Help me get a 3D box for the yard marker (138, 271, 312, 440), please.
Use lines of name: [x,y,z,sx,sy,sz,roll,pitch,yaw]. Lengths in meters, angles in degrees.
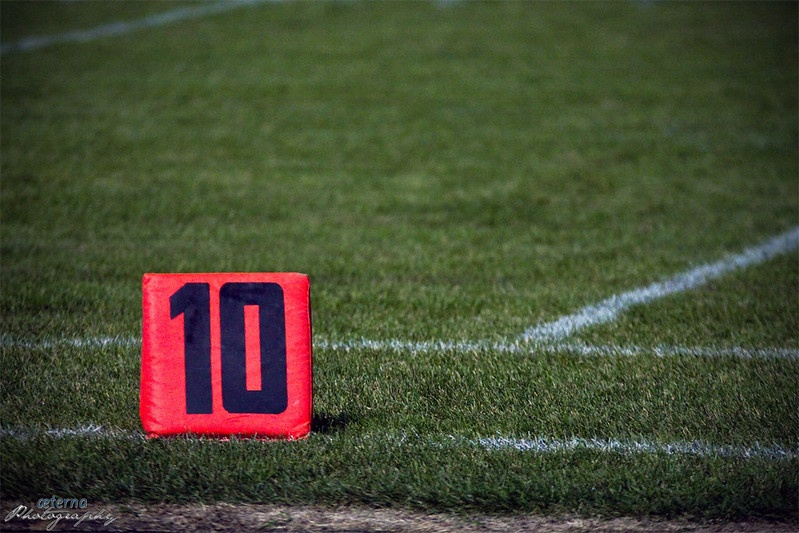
yard marker: [-1.164,0.633,10.260,1.591,0.520,1.238,-3,87,28]
